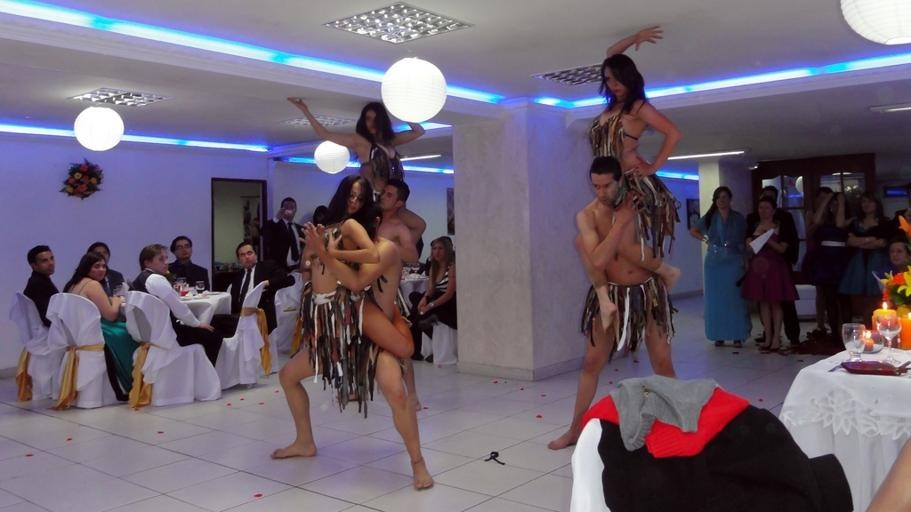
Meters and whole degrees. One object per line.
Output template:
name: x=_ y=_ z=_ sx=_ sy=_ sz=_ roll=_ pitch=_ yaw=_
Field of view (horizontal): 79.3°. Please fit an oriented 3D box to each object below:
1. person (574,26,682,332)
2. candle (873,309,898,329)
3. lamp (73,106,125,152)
person: x=1.493 y=-0.844 z=4.662 sx=0.742 sy=1.757 sz=0.447 roll=1 pitch=9 yaw=18
candle: x=2.796 y=0.416 z=3.606 sx=0.148 sy=0.110 sz=0.150 roll=-5 pitch=-7 yaw=44
lamp: x=-3.856 y=-1.370 z=6.106 sx=0.693 sy=0.587 sz=0.149 roll=0 pitch=9 yaw=-16
